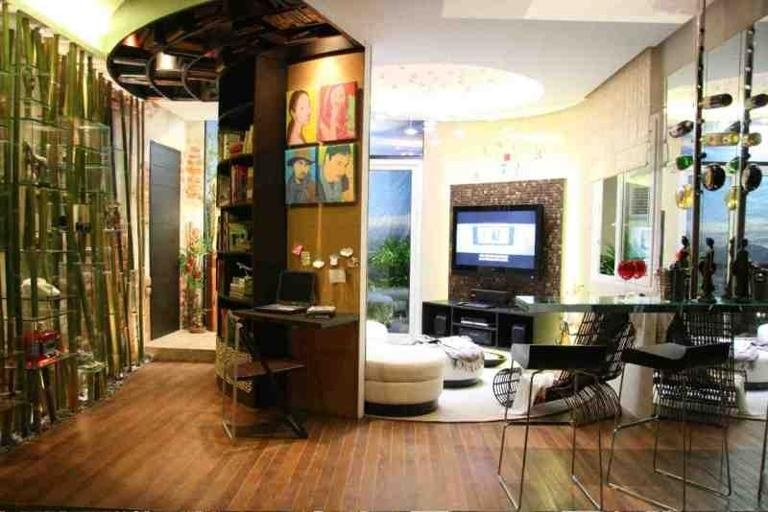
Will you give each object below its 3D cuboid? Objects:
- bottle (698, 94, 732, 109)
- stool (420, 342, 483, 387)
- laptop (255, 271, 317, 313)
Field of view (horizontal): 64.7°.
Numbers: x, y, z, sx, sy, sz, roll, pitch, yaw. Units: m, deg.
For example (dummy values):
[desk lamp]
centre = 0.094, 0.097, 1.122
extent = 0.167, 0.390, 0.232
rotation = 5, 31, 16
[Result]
[bottle]
centre = 3.376, -1.567, 6.156
extent = 0.260, 0.146, 0.215
rotation = 10, 16, 35
[stool]
centre = 0.859, 1.285, 7.539
extent = 0.602, 0.351, 0.585
rotation = 2, -1, -28
[laptop]
centre = -1.059, 0.390, 6.489
extent = 0.543, 0.393, 0.462
rotation = 2, 0, 32
